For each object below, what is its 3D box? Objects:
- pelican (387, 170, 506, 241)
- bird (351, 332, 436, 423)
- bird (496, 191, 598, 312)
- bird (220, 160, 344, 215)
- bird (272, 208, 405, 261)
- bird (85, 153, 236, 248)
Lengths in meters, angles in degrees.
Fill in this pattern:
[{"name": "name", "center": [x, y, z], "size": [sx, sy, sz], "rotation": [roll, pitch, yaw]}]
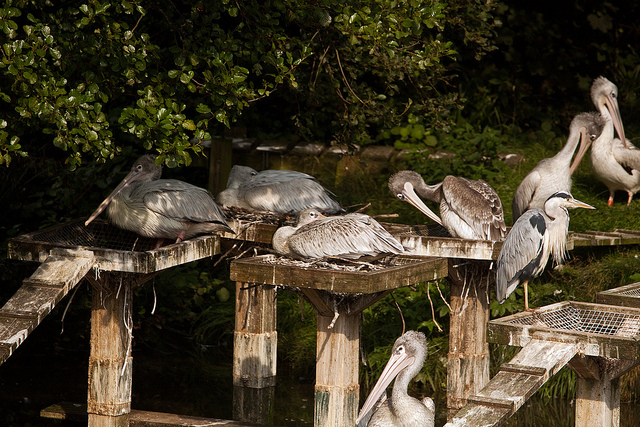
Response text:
[{"name": "pelican", "center": [1.399, -0.168, 12.016], "size": [0.594, 0.705, 1.660], "rotation": [-4, 13, -44]}, {"name": "bird", "center": [0.729, 1.580, 9.766], "size": [0.710, 0.854, 0.509], "rotation": [0, 0, 9]}, {"name": "bird", "center": [2.317, 0.362, 10.934], "size": [0.828, 1.170, 0.368], "rotation": [0, 0, 11]}, {"name": "bird", "center": [-0.493, -0.255, 12.570], "size": [1.223, 0.674, 0.650], "rotation": [3, -5, 13]}, {"name": "bird", "center": [0.152, 0.246, 10.392], "size": [1.022, 0.424, 0.581], "rotation": [-2, -7, 11]}, {"name": "bird", "center": [-1.725, -0.088, 11.917], "size": [1.784, 1.189, 0.791], "rotation": [-3, -18, 8]}]
